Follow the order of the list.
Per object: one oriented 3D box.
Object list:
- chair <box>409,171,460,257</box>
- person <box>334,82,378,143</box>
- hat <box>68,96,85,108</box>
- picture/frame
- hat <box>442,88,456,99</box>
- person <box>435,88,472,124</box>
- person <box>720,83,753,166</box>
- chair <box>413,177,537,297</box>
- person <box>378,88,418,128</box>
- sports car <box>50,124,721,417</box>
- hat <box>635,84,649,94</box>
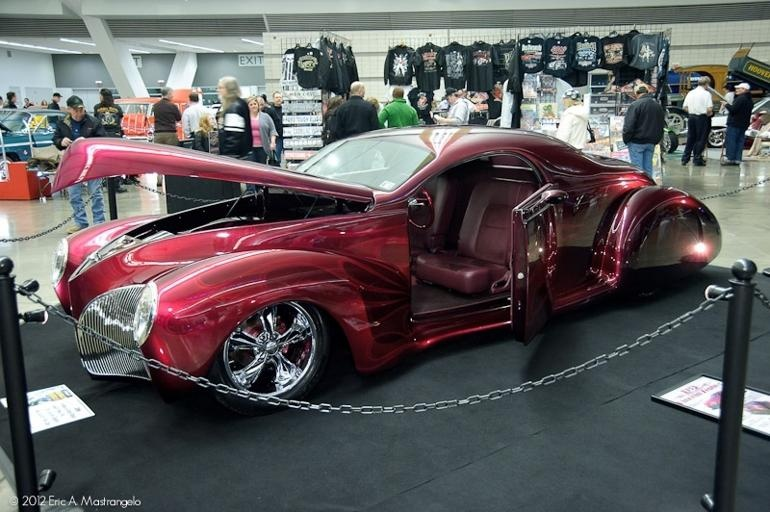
[{"bbox_3d":[0.345,-0.381,4.513,0.696,0.837,0.499,0,0,-6],"label":"chair"},{"bbox_3d":[-0.443,-2.328,7.981,0.704,1.023,0.628,-2,24,3],"label":"person"},{"bbox_3d":[-4.727,-2.326,7.312,0.309,0.174,0.213,9,25,42],"label":"hat"},{"bbox_3d":[2.077,0.884,3.039,0.597,0.040,0.496,14,26,36],"label":"picture/frame"},{"bbox_3d":[1.252,-3.096,9.216,0.169,0.138,0.231,-48,20,-13],"label":"hat"},{"bbox_3d":[1.282,-2.576,8.901,0.579,1.005,0.753,-4,6,14],"label":"person"},{"bbox_3d":[8.710,-3.201,11.904,0.532,1.984,1.268,12,25,34],"label":"person"},{"bbox_3d":[0.737,-0.162,3.951,0.816,0.863,0.871,6,14,32],"label":"chair"},{"bbox_3d":[0.251,-2.621,8.638,0.800,0.724,0.444,-10,26,-21],"label":"person"},{"bbox_3d":[0.254,-0.020,3.470,4.144,1.344,2.371,-8,12,-29],"label":"sports car"},{"bbox_3d":[4.426,-2.822,8.289,0.201,0.161,0.206,-12,6,-17],"label":"hat"}]
